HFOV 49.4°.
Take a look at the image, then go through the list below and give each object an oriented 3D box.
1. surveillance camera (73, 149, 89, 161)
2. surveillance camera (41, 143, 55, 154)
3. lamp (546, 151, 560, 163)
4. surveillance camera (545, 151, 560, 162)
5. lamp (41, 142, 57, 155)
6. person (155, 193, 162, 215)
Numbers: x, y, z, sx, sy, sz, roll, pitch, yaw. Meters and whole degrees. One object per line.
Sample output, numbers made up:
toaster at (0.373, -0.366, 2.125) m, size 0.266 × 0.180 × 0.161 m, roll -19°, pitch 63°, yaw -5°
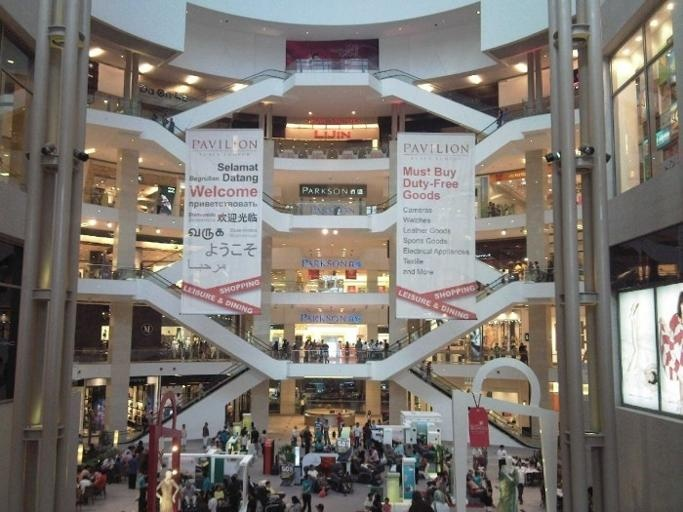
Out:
surveillance camera at (-5.074, -2.012, 14.528) m, size 0.273 × 0.266 × 0.337 m, roll 5°, pitch -14°, yaw -11°
surveillance camera at (-5.595, -2.059, 14.171) m, size 0.162 × 0.228 × 0.221 m, roll -8°, pitch 38°, yaw -31°
lamp at (4.119, -1.944, 14.472) m, size 0.266 × 0.227 × 0.439 m, roll -1°, pitch -15°, yaw 12°
surveillance camera at (4.119, -1.952, 14.488) m, size 0.184 × 0.184 × 0.230 m, roll 4°, pitch 19°, yaw 18°
lamp at (-5.581, -2.054, 14.177) m, size 0.180 × 0.256 × 0.243 m, roll -6°, pitch 22°, yaw -31°
person at (-8.164, -2.300, 33.169) m, size 0.241 × 1.101 × 1.038 m, roll 6°, pitch -14°, yaw -15°
